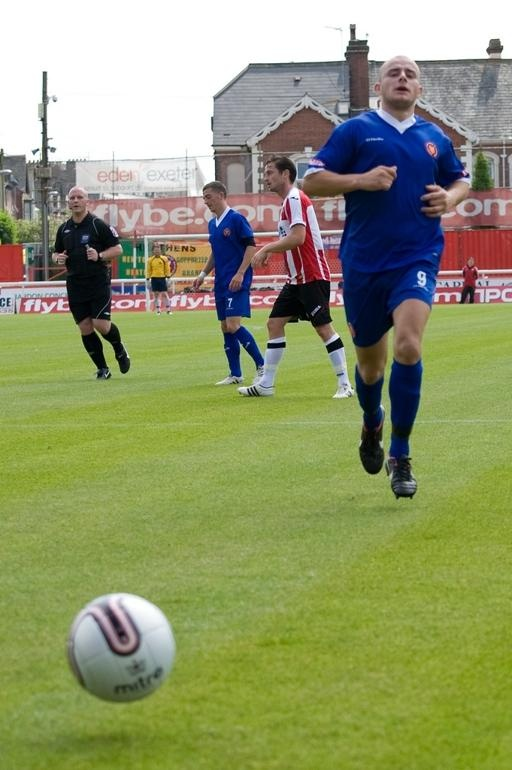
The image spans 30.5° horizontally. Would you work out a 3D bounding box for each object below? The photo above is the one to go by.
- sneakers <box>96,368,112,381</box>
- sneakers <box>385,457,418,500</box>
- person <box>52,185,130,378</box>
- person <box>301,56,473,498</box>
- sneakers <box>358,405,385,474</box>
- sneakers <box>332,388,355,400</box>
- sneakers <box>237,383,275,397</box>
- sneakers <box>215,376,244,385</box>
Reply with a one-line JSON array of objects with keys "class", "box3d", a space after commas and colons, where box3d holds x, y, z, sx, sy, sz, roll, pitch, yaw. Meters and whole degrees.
[{"class": "sneakers", "box3d": [-1.585, -0.103, 9.639, 0.076, 0.091, 0.215, -8, 0, 12]}, {"class": "sneakers", "box3d": [0.632, 0.400, 4.121, 0.089, 0.109, 0.226, -3, 15, -7]}, {"class": "person", "box3d": [-1.708, -1.036, 9.574, 0.716, 1.947, 0.779, -3, 7, -10]}, {"class": "person", "box3d": [0.571, -0.525, 4.351, 0.691, 2.005, 0.829, 2, 7, 24]}, {"class": "sneakers", "box3d": [0.574, 0.279, 4.560, 0.119, 0.297, 0.152, 0, 6, 7]}, {"class": "sneakers", "box3d": [0.720, 0.069, 7.779, 0.075, 0.088, 0.214, -8, -4, 27]}, {"class": "sneakers", "box3d": [-0.023, 0.044, 8.005, 0.320, 0.112, 0.110, 4, 4, 13]}, {"class": "sneakers", "box3d": [-0.251, -0.041, 8.967, 0.303, 0.112, 0.092, 1, -5, -3]}]
